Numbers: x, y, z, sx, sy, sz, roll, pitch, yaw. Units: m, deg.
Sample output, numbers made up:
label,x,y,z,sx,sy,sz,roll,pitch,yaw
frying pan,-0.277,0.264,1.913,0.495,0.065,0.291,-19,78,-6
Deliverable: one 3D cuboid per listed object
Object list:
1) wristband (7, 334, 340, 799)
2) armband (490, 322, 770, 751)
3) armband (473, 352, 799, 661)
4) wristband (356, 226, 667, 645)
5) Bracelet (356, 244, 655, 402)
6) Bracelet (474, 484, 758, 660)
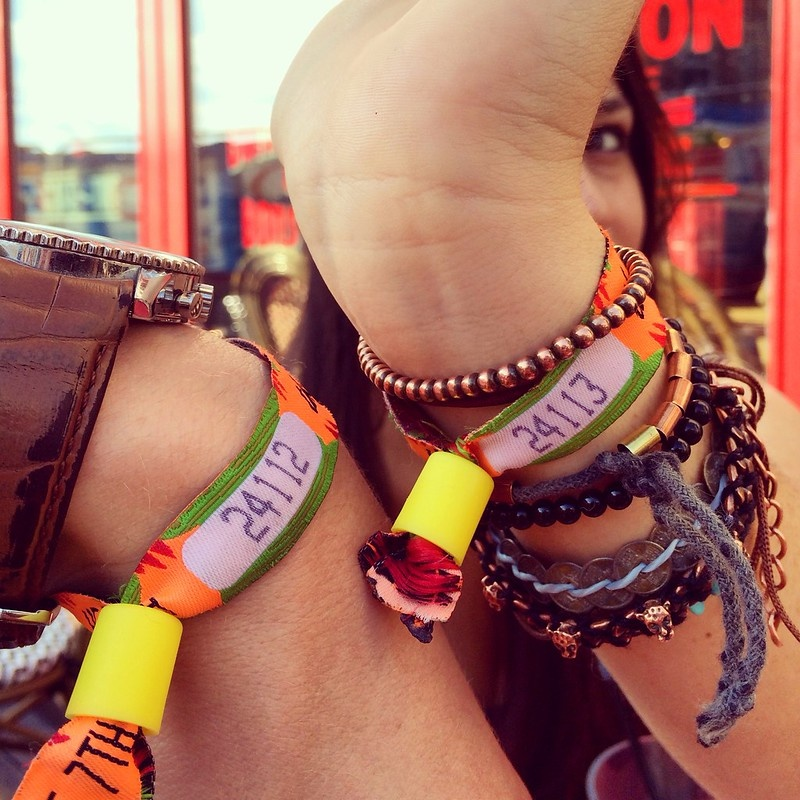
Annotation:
label,x,y,z,sx,sy,sz,roll,pitch,yaw
wristband,-0.135,0.113,0.543,0.202,0.286,0.063,8,-14,0
armband,0.194,0.115,0.734,0.276,0.326,0.130,-22,24,-20
armband,0.207,0.085,0.816,0.234,0.089,0.289,-32,23,6
wristband,0.121,0.038,0.706,0.240,0.092,0.320,12,52,46
Bracelet,0.080,-0.076,0.640,0.171,0.022,0.129,-27,11,-9
Bracelet,0.180,0.109,0.749,0.171,0.072,0.189,-24,-3,32
